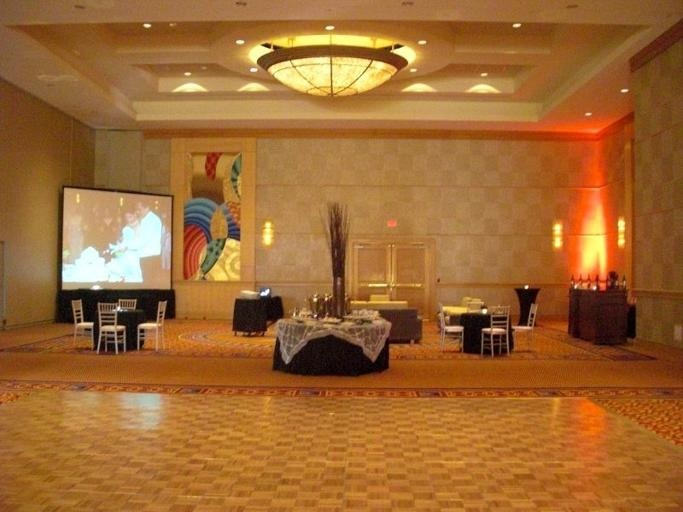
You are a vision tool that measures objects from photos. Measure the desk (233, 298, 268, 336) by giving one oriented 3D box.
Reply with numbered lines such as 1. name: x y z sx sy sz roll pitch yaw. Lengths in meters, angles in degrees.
1. desk: -2.292 1.452 12.768 0.829 1.187 0.848 -2 -4 29

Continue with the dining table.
1. dining table: -0.134 1.433 8.311 1.730 0.864 0.545 0 2 -1

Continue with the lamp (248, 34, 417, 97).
1. lamp: -0.126 -4.175 11.632 1.836 0.501 1.951 0 1 14

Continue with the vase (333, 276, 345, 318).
1. vase: -0.036 0.648 8.474 0.186 0.650 0.149 0 3 -11

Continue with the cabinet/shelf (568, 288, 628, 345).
1. cabinet/shelf: 5.686 1.321 11.991 1.009 1.550 1.778 0 -4 -8

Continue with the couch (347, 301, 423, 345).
1. couch: 1.234 1.409 11.304 1.409 0.766 0.957 0 2 1

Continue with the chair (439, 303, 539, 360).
1. chair: 2.864 1.468 10.685 1.315 0.661 1.343 0 -6 -2

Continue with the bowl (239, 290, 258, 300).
1. bowl: -2.282 0.937 12.885 0.470 0.175 0.372 -3 -5 36
